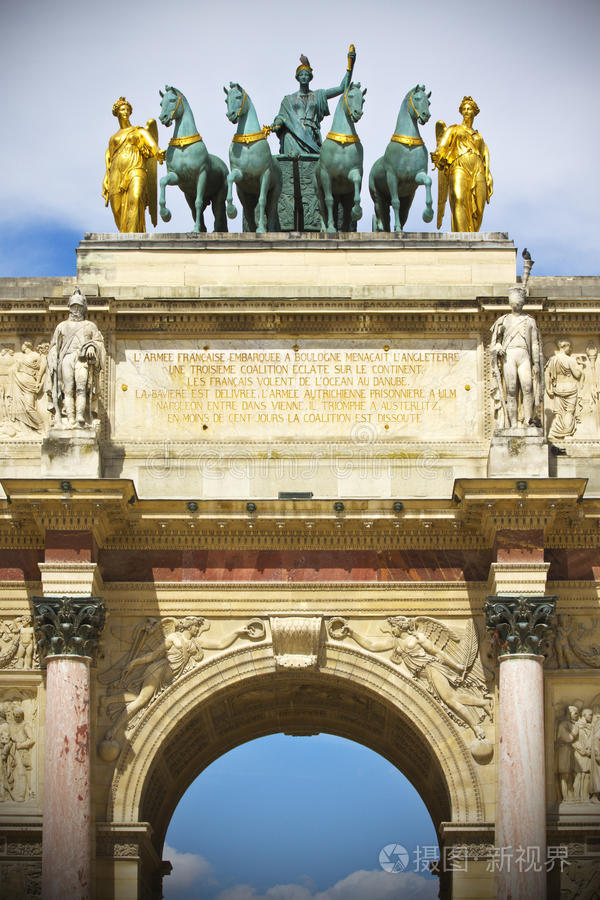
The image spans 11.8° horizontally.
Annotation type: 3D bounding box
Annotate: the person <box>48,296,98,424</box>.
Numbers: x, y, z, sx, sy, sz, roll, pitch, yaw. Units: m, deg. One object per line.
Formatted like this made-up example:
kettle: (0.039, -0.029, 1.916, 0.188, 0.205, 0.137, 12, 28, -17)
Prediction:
person: (-3.194, -1.264, 40.942, 0.784, 1.936, 0.560, -2, -11, -8)

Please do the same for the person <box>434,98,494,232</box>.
person: (2.456, -4.131, 44.402, 0.898, 2.630, 0.458, 9, -31, -13)

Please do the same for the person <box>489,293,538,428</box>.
person: (3.071, -1.183, 40.911, 0.401, 2.034, 0.469, -7, 4, -38)

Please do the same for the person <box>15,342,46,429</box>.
person: (-3.911, -0.945, 42.043, 0.403, 1.341, 0.255, -2, -10, -5)

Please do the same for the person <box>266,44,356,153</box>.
person: (0.163, -5.608, 48.322, 1.162, 2.528, 0.780, -3, -37, 10)

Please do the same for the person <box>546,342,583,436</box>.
person: (3.809, -0.882, 42.005, 0.558, 1.469, 0.238, -5, -10, 7)
